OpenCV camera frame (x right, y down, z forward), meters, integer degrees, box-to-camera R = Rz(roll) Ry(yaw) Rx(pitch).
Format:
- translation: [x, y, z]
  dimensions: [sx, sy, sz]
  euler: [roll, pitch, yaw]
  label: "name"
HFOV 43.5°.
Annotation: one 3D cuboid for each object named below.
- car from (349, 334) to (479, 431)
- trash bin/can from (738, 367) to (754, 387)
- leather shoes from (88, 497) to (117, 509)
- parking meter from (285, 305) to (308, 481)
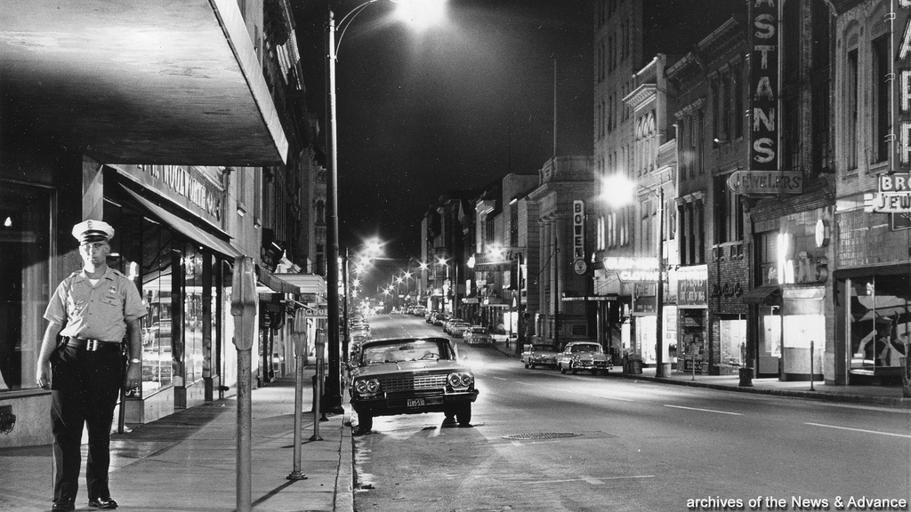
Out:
- translation: [-1.261, 3.574, 32.340]
  dimensions: [3.378, 2.739, 1.709]
  euler: [-1, -11, -5]
  label: "car"
- translation: [12.636, 5.179, 48.957]
  dimensions: [0.816, 0.832, 0.803]
  euler: [0, -2, -9]
  label: "trash bin/can"
- translation: [-7.056, 4.928, 22.889]
  dimensions: [0.516, 0.194, 0.234]
  euler: [-3, -5, 12]
  label: "leather shoes"
- translation: [-3.604, 3.174, 26.158]
  dimensions: [0.600, 3.845, 0.782]
  euler: [1, 0, 38]
  label: "parking meter"
